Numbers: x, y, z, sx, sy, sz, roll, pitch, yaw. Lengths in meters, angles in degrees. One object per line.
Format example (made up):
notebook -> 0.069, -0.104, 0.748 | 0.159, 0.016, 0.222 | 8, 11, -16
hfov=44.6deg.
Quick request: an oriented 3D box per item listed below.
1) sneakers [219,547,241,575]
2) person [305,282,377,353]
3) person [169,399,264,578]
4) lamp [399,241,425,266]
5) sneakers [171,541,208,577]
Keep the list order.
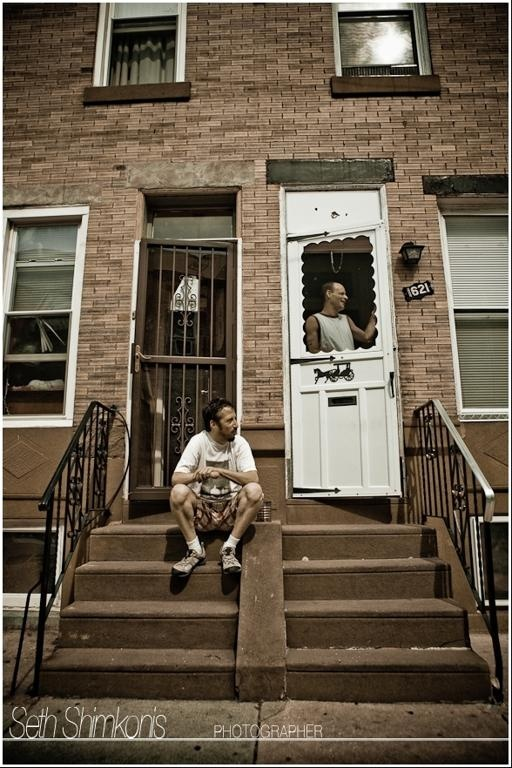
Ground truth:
sneakers -> -0.170, 1.224, 4.304 | 0.136, 0.187, 0.206 | 1, -7, -3
person -> 0.851, -0.618, 6.050 | 0.442, 0.778, 0.485 | 12, -24, -41
person -> -0.280, 0.735, 4.550 | 0.631, 1.266, 0.576 | 1, -7, -1
lamp -> 1.559, -1.261, 6.268 | 0.235, 0.252, 0.222 | 0, -8, 4
sneakers -> -0.457, 1.253, 4.387 | 0.106, 0.143, 0.300 | -4, -3, 27
